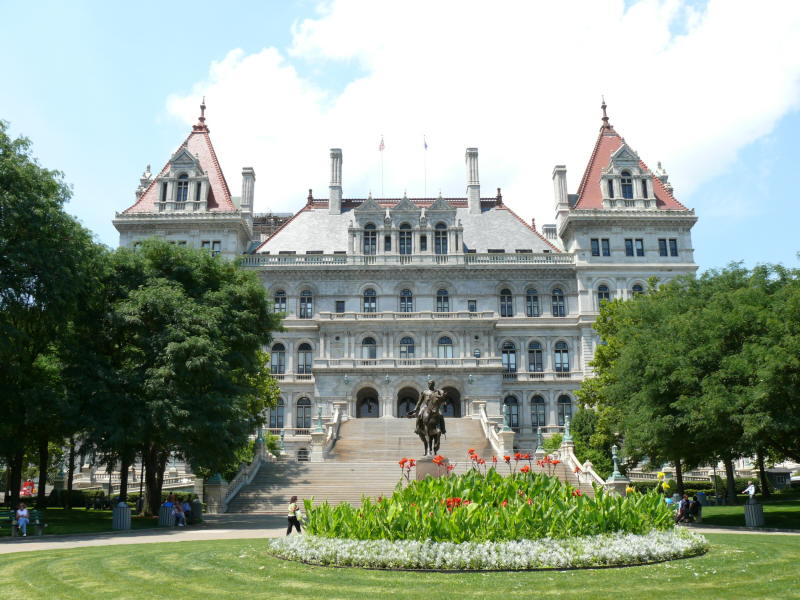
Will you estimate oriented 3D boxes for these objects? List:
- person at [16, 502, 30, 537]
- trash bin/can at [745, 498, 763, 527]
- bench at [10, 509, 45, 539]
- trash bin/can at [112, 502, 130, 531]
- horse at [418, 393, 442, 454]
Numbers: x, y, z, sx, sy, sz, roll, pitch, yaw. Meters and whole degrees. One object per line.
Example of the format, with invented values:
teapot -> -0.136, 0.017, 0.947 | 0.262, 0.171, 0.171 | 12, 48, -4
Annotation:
person -> -15.645, 9.079, 35.640 | 0.521, 1.323, 1.969 | 6, -16, -22
trash bin/can -> 15.092, 9.045, 36.839 | 0.784, 1.247, 1.176 | -6, -16, 20
bench -> -15.644, 9.369, 36.060 | 1.570, 1.323, 0.876 | 11, -19, -42
trash bin/can -> -12.234, 9.457, 37.865 | 0.795, 1.109, 0.448 | 2, -15, -11
horse -> 1.276, 5.474, 37.382 | 1.235, 2.516, 3.841 | -1, -15, -5
